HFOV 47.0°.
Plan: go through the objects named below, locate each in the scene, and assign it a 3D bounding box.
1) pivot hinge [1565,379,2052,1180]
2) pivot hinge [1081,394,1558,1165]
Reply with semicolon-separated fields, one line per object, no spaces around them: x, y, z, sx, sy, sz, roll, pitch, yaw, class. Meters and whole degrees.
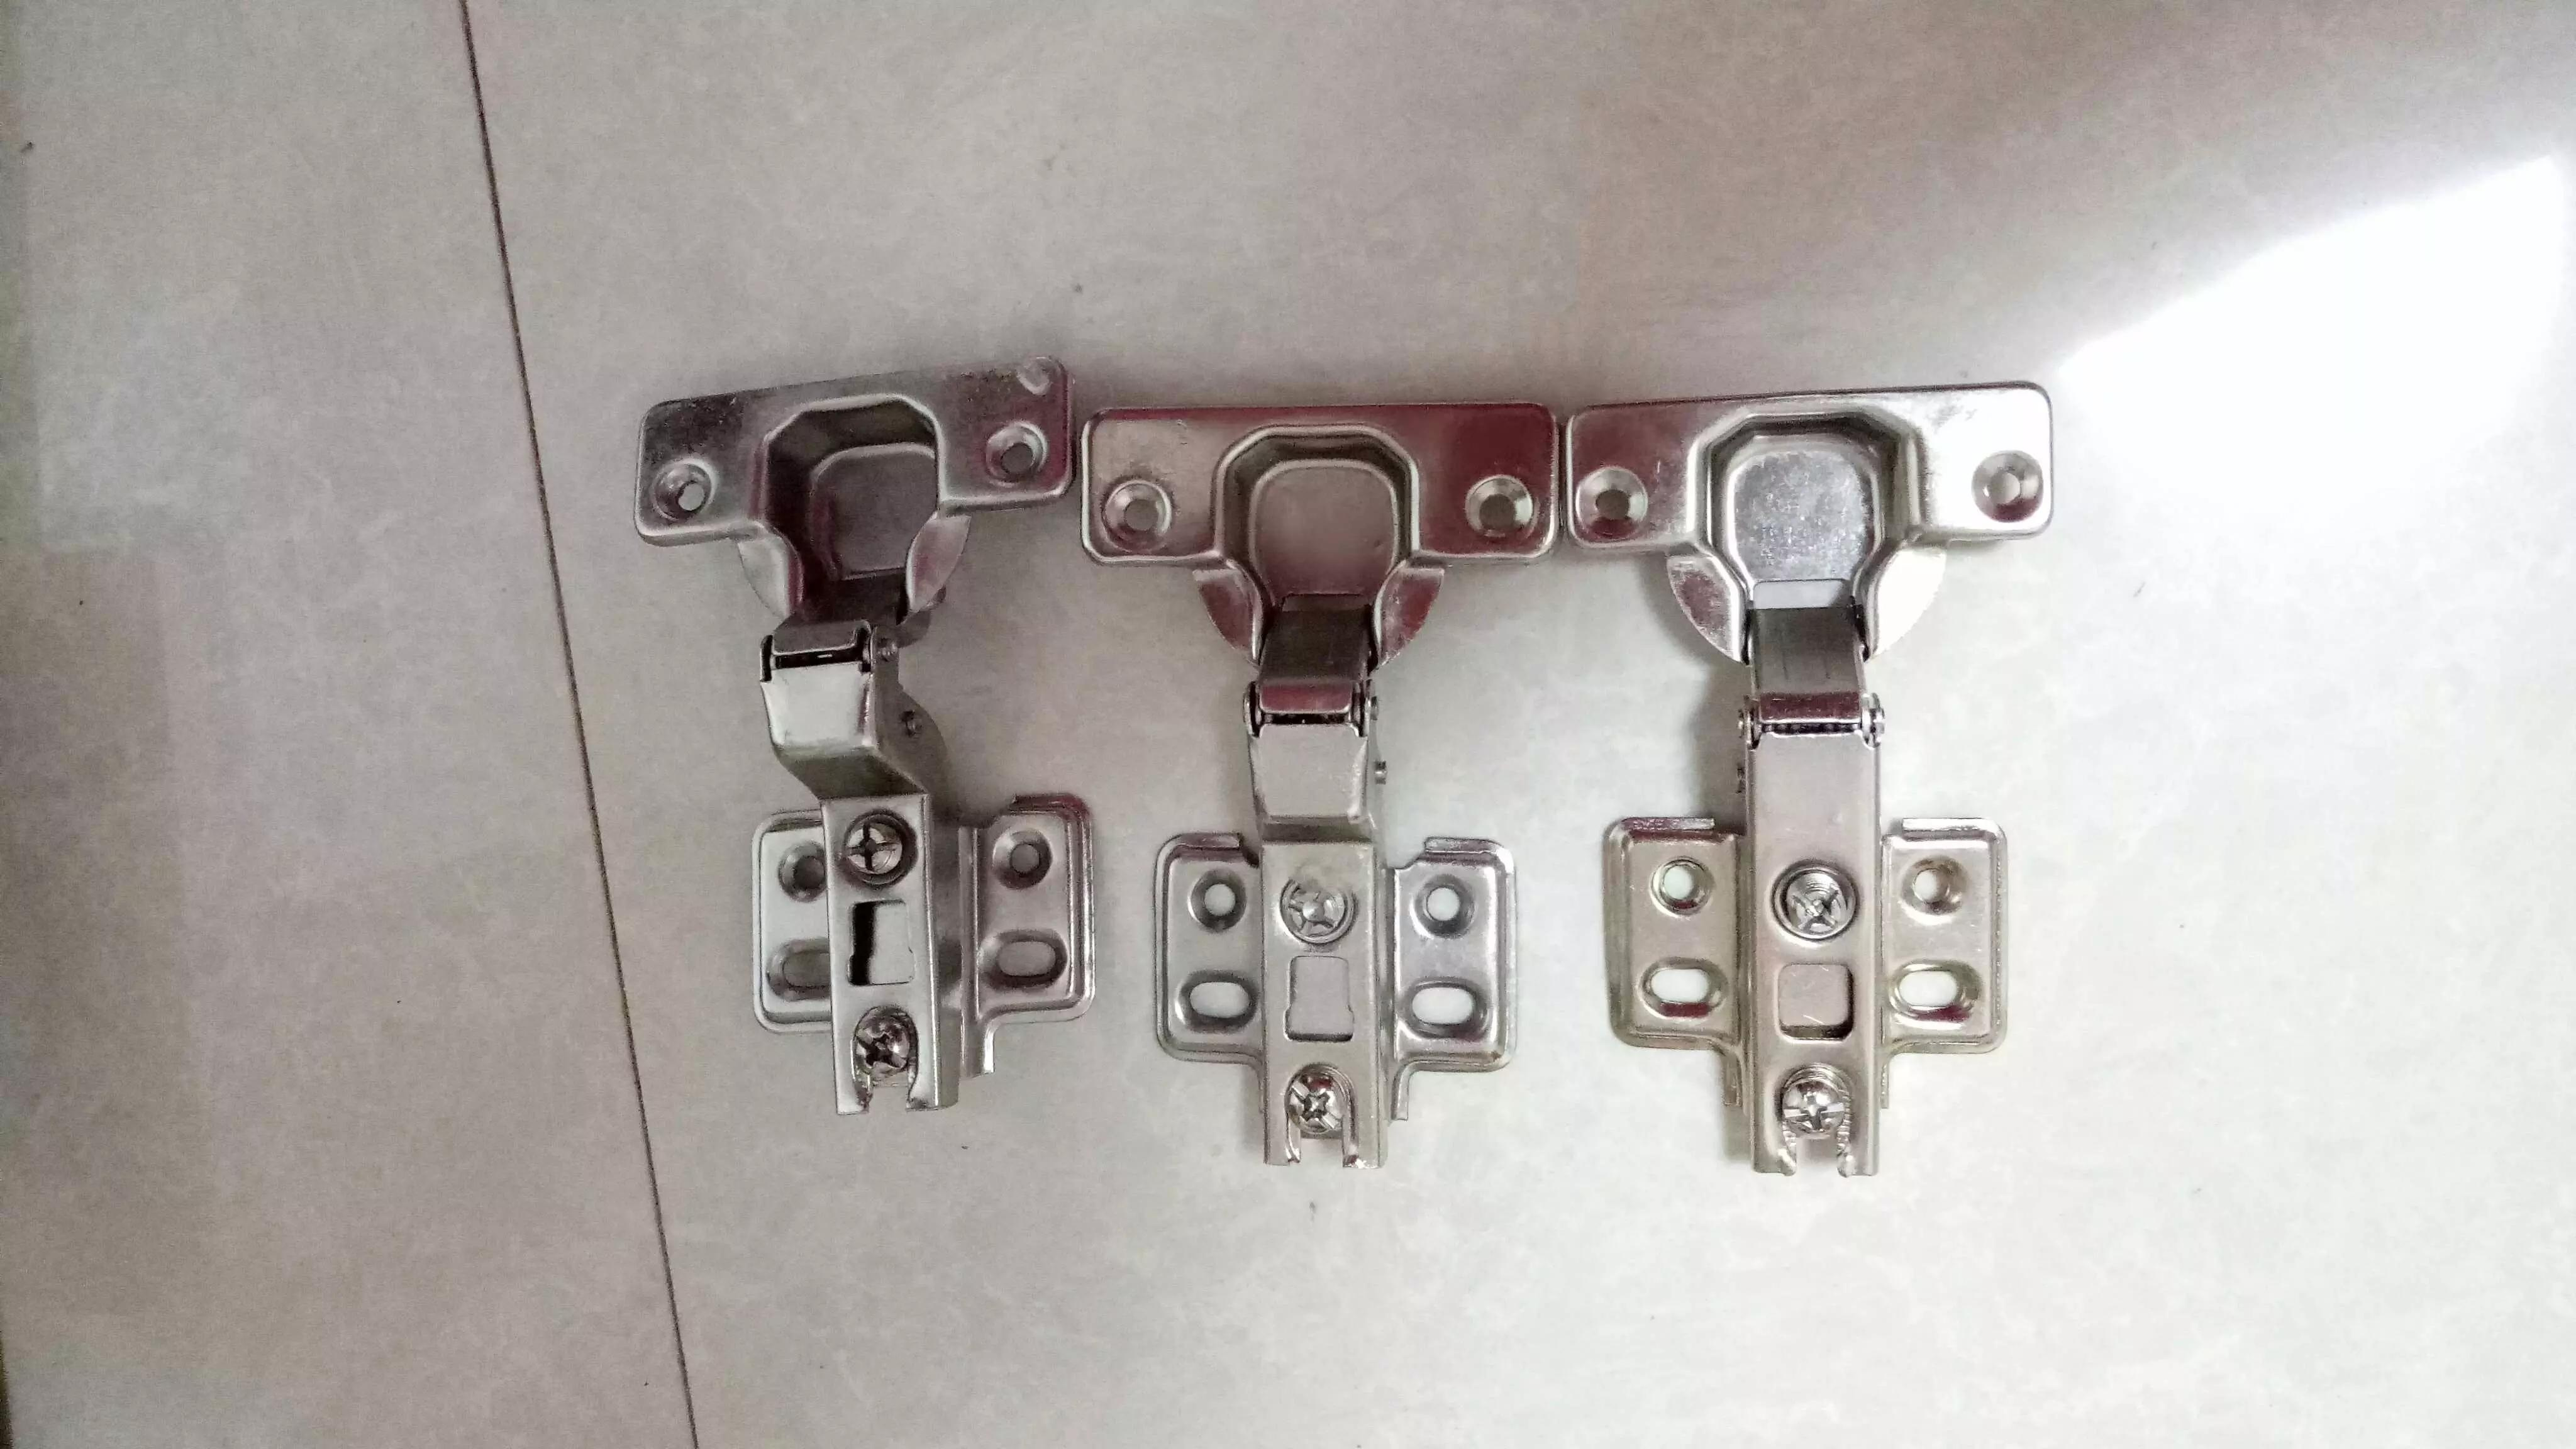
0.376;0.049;2.118;0.328;0.088;0.618;1;-62;14;pivot hinge
0.033;0.041;2.102;0.339;0.332;0.414;-2;-51;2;pivot hinge
